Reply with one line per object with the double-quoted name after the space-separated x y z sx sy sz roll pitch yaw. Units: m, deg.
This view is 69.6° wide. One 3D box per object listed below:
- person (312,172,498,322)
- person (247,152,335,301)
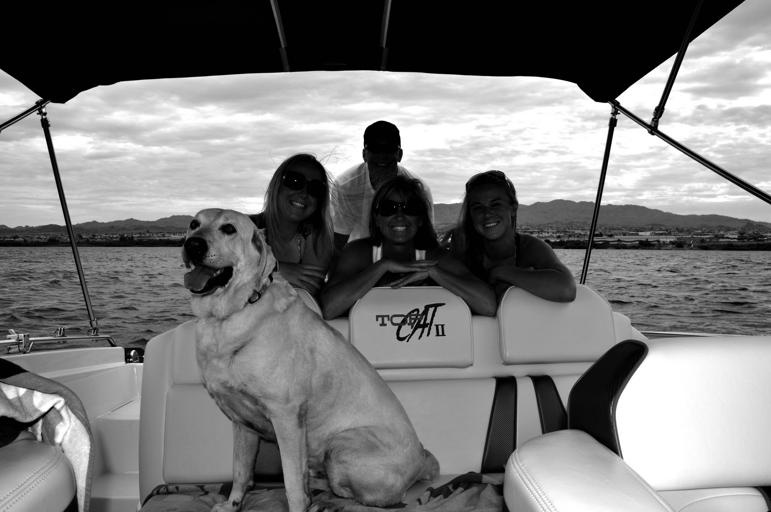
0.132 -0.085 4.317 1.354 1.080 0.785 -1 4 -7 "person"
-0.748 -0.273 4.495 0.820 1.062 0.563 2 4 -4 "person"
